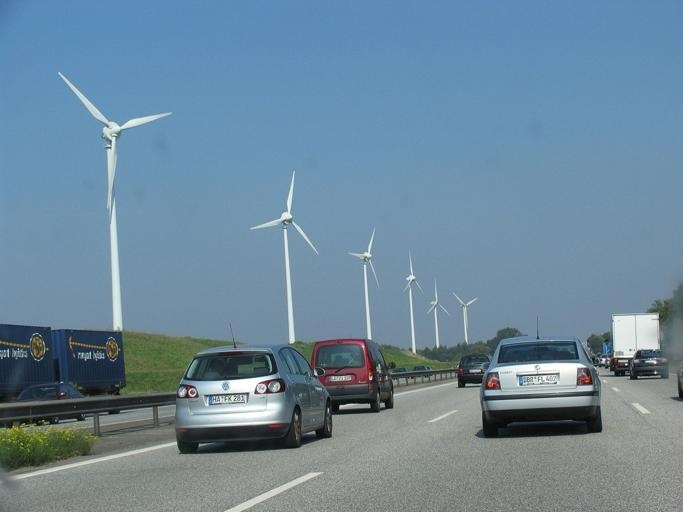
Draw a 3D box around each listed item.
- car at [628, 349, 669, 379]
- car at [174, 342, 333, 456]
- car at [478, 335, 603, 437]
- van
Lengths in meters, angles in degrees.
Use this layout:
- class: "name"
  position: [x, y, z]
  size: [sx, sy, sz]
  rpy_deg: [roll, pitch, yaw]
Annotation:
- class: "car"
  position: [15.691, 5.532, 39.822]
  size: [1.033, 0.913, 2.476]
  rpy_deg: [-1, 0, 11]
- class: "car"
  position: [-1.649, 2.657, 14.650]
  size: [2.963, 1.972, 1.810]
  rpy_deg: [-1, -6, -27]
- class: "car"
  position: [3.813, 2.519, 14.909]
  size: [2.218, 1.913, 1.152]
  rpy_deg: [-5, -5, 12]
- class: "van"
  position: [0.464, 3.767, 23.983]
  size: [1.980, 2.041, 4.237]
  rpy_deg: [-1, -2, 11]
